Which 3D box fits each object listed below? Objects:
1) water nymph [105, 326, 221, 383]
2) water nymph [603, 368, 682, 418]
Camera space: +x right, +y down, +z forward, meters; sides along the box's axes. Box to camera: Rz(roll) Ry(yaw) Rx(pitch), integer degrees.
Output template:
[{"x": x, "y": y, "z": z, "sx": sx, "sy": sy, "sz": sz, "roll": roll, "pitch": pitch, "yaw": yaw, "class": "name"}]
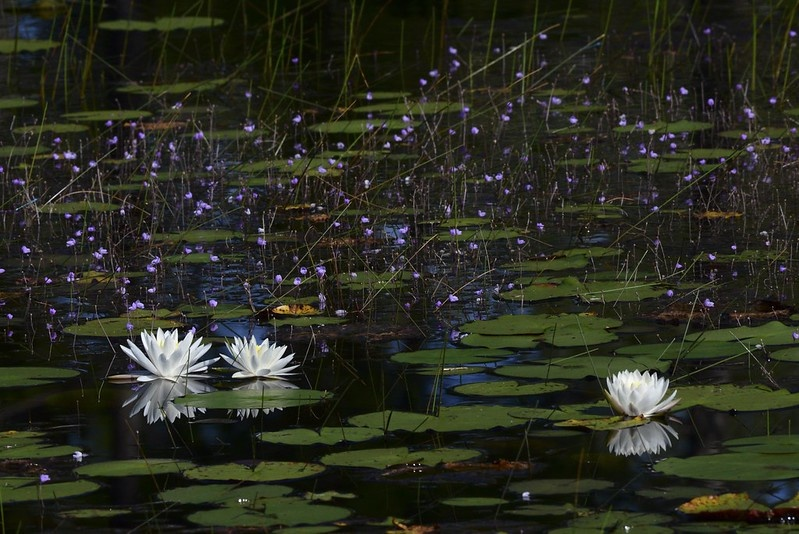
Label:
[{"x": -1.220, "y": 0.470, "z": 5.645, "sx": 0.377, "sy": 0.155, "sz": 0.366, "roll": -3, "pitch": -1, "yaw": 27, "class": "water nymph"}, {"x": 1.103, "y": 0.596, "z": 5.134, "sx": 0.319, "sy": 0.146, "sz": 0.373, "roll": -3, "pitch": 8, "yaw": 28, "class": "water nymph"}]
